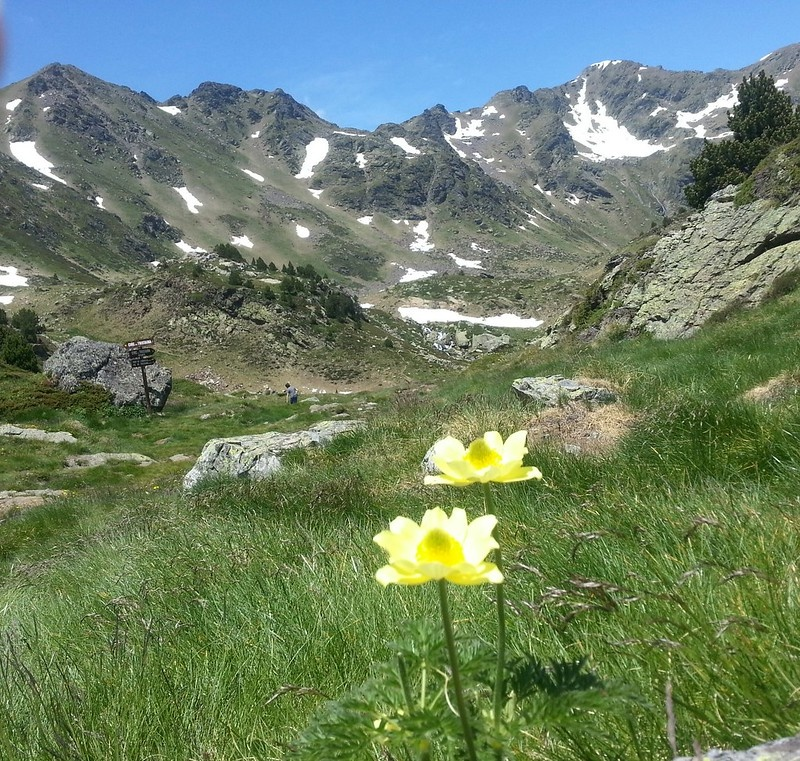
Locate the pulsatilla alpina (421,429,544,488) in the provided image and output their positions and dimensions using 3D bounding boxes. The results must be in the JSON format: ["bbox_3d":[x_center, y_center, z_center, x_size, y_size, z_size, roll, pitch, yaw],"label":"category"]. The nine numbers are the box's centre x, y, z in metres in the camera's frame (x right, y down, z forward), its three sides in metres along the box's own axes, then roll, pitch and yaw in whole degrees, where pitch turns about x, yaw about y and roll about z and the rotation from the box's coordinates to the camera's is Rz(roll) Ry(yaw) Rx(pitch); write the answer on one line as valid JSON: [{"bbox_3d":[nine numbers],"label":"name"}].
[{"bbox_3d":[0.273,0.282,2.147,0.315,0.143,0.326,-7,1,1],"label":"pulsatilla alpina"}]
